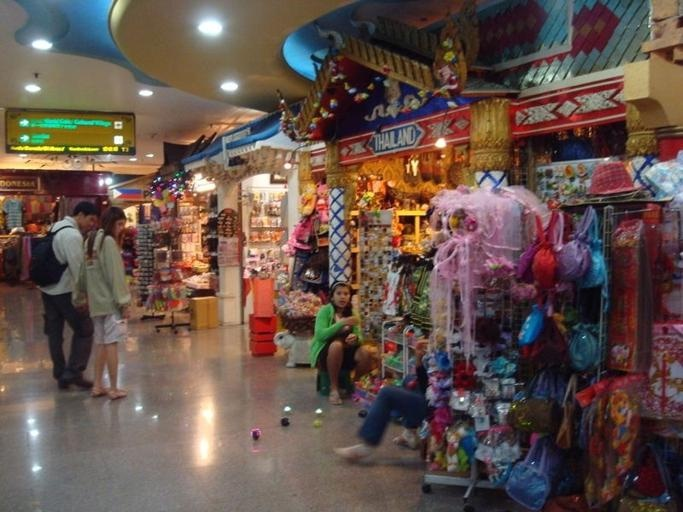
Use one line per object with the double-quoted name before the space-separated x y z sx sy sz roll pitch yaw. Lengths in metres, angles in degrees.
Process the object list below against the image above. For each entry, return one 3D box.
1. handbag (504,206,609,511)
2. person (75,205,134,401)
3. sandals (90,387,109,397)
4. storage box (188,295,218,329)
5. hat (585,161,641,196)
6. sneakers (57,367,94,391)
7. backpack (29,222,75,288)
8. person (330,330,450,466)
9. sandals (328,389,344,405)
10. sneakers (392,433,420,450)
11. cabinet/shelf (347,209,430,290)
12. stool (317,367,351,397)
"handbag" 1.315 0.674 3.547 0.585 1.950 0.396 1 1 18
"person" -2.454 0.495 5.923 0.452 1.992 0.366 0 1 -17
"sandals" -2.551 1.445 5.995 0.155 0.107 0.084 -6 9 -42
"storage box" -2.411 1.008 9.931 0.337 0.654 0.563 -4 -4 42
"hat" 1.797 -0.507 3.762 0.271 0.245 0.385 1 1 24
"sneakers" -2.921 1.357 6.355 0.519 0.282 0.172 0 8 -24
"backpack" -3.145 0.033 6.086 0.354 0.595 0.220 0 1 -32
"person" 0.341 1.104 4.429 0.734 0.929 0.608 1 1 15
"sandals" -0.065 1.443 5.757 0.099 0.109 0.274 0 -8 -7
"sneakers" 0.533 1.509 4.648 0.236 0.104 0.080 7 0 38
"cabinet/shelf" 0.495 -0.067 6.256 1.032 0.998 0.256 -2 2 7
"stool" -0.086 1.351 6.030 0.296 0.238 0.295 0 -4 -7
